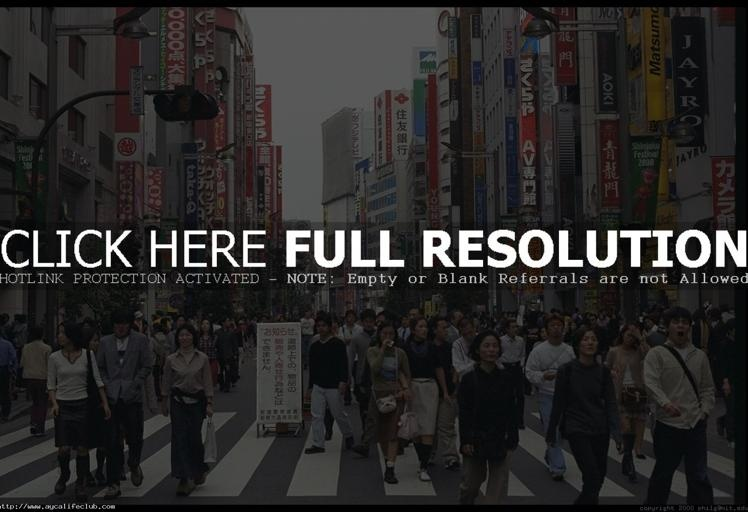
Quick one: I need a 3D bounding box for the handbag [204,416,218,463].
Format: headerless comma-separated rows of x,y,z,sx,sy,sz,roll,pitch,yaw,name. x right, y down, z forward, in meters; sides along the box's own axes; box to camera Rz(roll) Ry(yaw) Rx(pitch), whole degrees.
-2.590,2.859,11.995,0.203,0.766,0.780,-1,-5,-13,handbag

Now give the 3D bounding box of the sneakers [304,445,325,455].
-1.106,3.521,13.964,0.408,0.192,0.151,5,-8,-6,sneakers

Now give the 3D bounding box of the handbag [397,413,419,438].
0.514,2.652,12.026,0.342,0.364,0.222,5,10,6,handbag

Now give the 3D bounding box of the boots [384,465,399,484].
0.248,3.389,11.978,0.207,0.272,0.346,-2,-4,1,boots

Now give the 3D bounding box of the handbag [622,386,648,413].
4.184,2.315,12.431,0.389,0.459,0.214,-3,-4,14,handbag

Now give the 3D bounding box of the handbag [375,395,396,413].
0.181,2.367,12.235,0.314,0.277,0.131,-2,-4,-2,handbag
